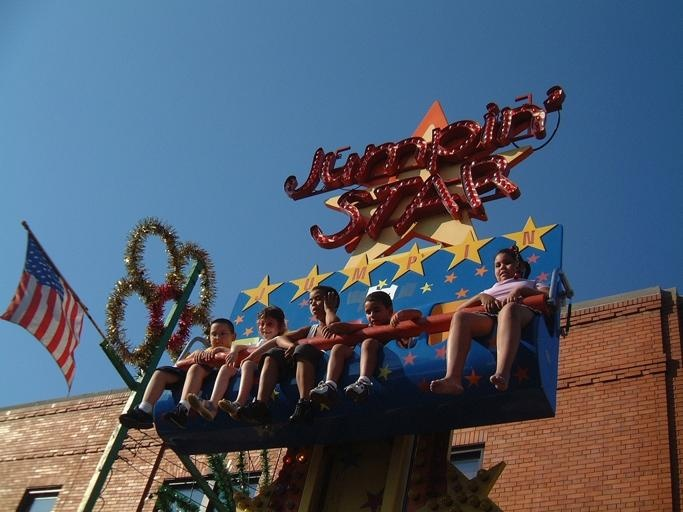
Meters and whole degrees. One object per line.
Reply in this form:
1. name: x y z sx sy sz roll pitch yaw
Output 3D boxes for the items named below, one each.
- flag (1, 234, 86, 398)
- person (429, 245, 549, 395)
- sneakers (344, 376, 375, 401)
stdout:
1. flag: -4.820 0.846 12.947 0.228 2.047 1.993 -15 -54 23
2. person: 2.161 0.775 11.514 1.527 2.859 0.874 1 -39 6
3. sneakers: 0.256 1.855 11.256 0.199 0.218 0.460 1 -2 38
